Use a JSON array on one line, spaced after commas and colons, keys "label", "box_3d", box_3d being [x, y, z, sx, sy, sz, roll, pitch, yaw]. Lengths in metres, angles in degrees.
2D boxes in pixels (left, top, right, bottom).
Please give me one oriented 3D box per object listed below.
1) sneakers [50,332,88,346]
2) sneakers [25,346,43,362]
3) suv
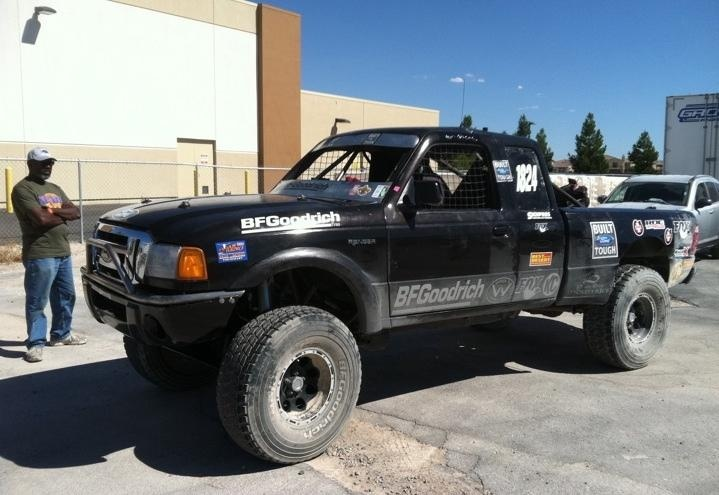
[{"label": "sneakers", "box_3d": [-3.683, 1.167, 6.641, 0.396, 0.159, 0.150, -2, 4, -21]}, {"label": "sneakers", "box_3d": [-3.809, 1.231, 6.122, 0.193, 0.151, 0.327, -6, 12, -32]}, {"label": "suv", "box_3d": [0.418, 0.209, 5.791, 5.753, 2.277, 2.895, 2, -1, -30]}]
